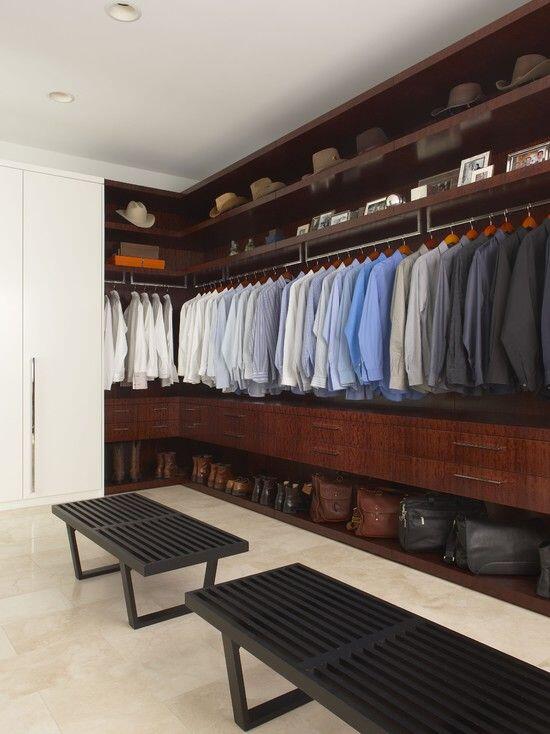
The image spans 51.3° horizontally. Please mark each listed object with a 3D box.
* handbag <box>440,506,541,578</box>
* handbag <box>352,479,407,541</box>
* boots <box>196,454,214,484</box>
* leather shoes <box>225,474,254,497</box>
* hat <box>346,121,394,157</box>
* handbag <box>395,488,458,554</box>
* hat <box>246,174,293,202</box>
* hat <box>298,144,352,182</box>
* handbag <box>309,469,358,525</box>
[{"bbox_3d":[0.918,0.736,2.402,0.241,0.101,0.293,1,2,9],"label":"handbag"},{"bbox_3d":[0.551,0.759,2.961,0.281,0.257,0.135,7,-6,-17],"label":"handbag"},{"bbox_3d":[-0.577,0.817,4.536,0.098,0.164,0.247,2,5,15],"label":"boots"},{"bbox_3d":[-0.261,0.857,4.066,0.105,0.062,0.181,2,2,30],"label":"leather shoes"},{"bbox_3d":[0.507,-1.227,3.190,0.185,0.153,0.247,3,-13,-31],"label":"hat"},{"bbox_3d":[0.753,0.754,2.760,0.307,0.263,0.170,6,-1,-17],"label":"handbag"},{"bbox_3d":[-0.050,-1.183,3.901,0.175,0.131,0.276,-34,22,-28],"label":"hat"},{"bbox_3d":[0.289,-1.186,3.378,0.249,0.112,0.301,-21,3,25],"label":"hat"},{"bbox_3d":[0.341,0.751,3.304,0.274,0.270,0.168,3,-5,-1],"label":"handbag"}]
